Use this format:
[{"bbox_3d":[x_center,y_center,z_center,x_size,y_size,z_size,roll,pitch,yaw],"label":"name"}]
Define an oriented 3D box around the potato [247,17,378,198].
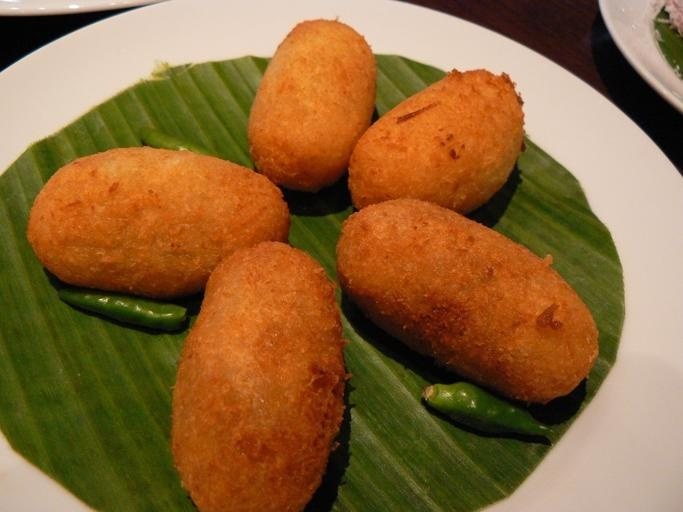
[{"bbox_3d":[-0.133,-0.471,2.356,0.349,0.302,0.529,38,73,-22],"label":"potato"}]
